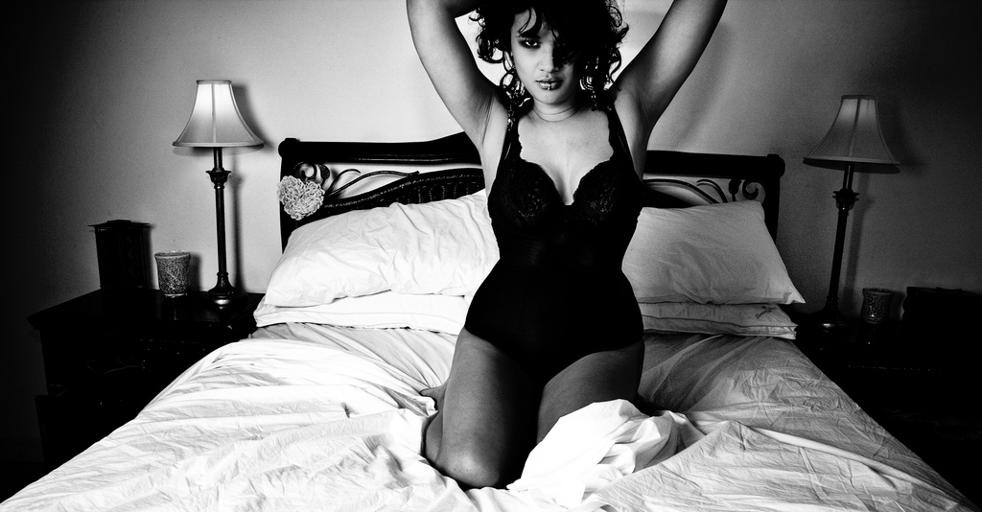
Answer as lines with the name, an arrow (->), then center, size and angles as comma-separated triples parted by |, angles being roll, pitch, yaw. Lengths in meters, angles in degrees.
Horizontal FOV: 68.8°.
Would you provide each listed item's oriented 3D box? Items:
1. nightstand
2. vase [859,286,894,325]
nightstand -> -1.869, 0.683, 3.952 | 1.233, 1.054, 0.650 | 1, 11, 6
vase -> 2.348, 0.300, 4.423 | 0.236, 0.231, 0.229 | 7, -1, 16
